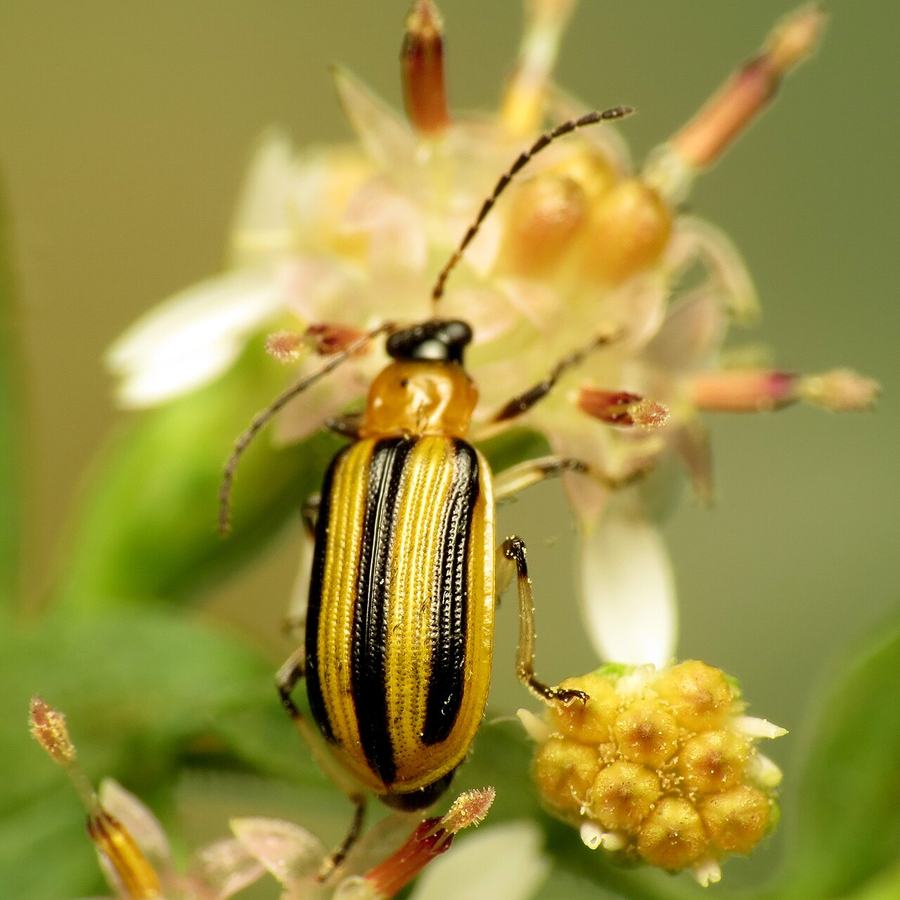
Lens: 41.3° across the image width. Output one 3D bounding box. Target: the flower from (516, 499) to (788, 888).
[{"bbox_3d":[0.263,0.420,1.623,0.318,0.297,0.128,-35,-18,-10],"label":"flower"}]
